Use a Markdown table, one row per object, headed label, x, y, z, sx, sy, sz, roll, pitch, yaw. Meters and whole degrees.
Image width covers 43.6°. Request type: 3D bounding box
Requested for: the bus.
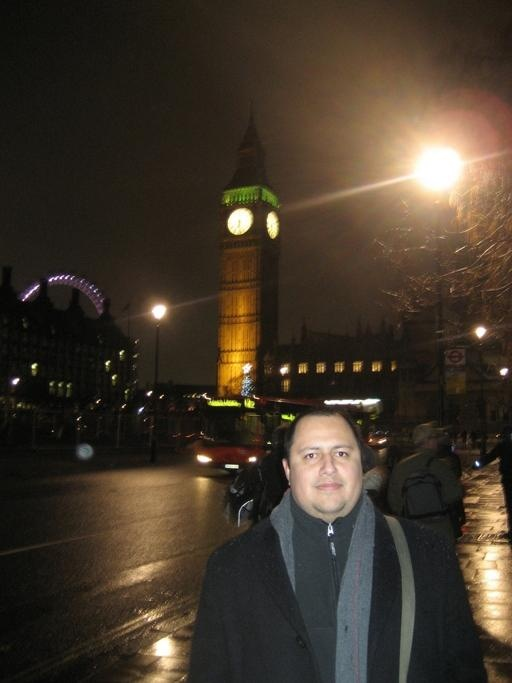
| label | x | y | z | sx | sy | sz | roll | pitch | yaw |
| --- | --- | --- | --- | --- | --- | --- | --- | --- | --- |
| bus | 0.509 | 4.018 | 29.083 | 3.632 | 3.623 | 12.421 | -4 | -10 | 23 |
